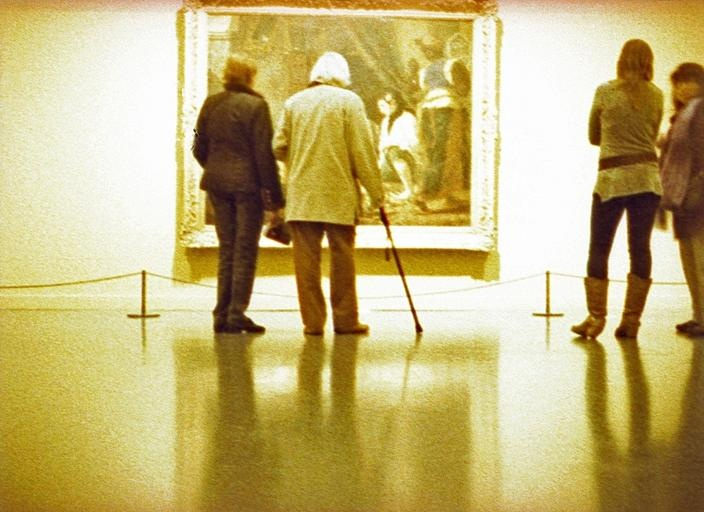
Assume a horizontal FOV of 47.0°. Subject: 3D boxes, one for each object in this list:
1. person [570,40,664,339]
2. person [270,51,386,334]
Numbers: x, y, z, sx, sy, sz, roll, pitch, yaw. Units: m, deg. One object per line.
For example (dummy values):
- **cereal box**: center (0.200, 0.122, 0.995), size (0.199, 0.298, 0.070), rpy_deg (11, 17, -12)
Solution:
- **person**: center (1.644, -0.412, 4.999), size (0.510, 1.817, 0.482), rpy_deg (1, 9, 10)
- **person**: center (-0.149, -0.421, 5.254), size (0.635, 1.798, 0.647), rpy_deg (-3, 9, -18)
